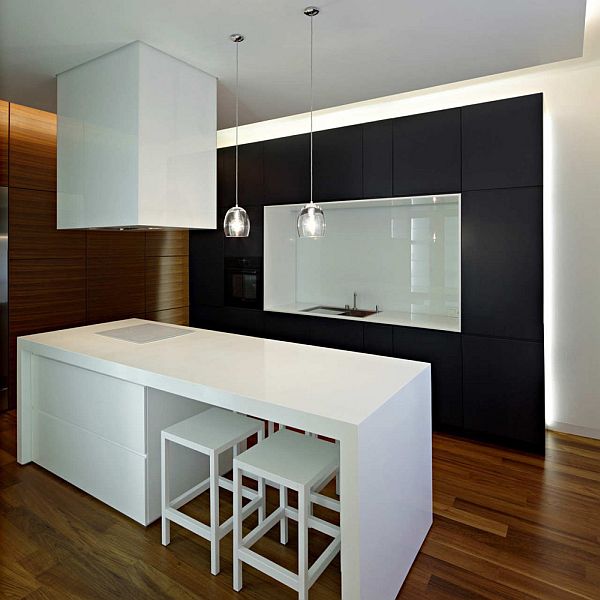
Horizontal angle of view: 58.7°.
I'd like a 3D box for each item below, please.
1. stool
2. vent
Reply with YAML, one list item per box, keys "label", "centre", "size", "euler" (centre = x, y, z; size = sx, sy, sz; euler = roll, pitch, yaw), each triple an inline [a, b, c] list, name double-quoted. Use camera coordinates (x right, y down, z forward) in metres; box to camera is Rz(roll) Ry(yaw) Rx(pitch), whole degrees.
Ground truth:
- label: "stool"
  centre: [-0.215, 0.987, 2.718]
  size: [0.991, 0.648, 0.583]
  euler: [6, 9, 32]
- label: "vent"
  centre: [-1.154, -1.027, 3.789]
  size: [0.944, 1.246, 1.059]
  euler: [-1, -1, -19]
